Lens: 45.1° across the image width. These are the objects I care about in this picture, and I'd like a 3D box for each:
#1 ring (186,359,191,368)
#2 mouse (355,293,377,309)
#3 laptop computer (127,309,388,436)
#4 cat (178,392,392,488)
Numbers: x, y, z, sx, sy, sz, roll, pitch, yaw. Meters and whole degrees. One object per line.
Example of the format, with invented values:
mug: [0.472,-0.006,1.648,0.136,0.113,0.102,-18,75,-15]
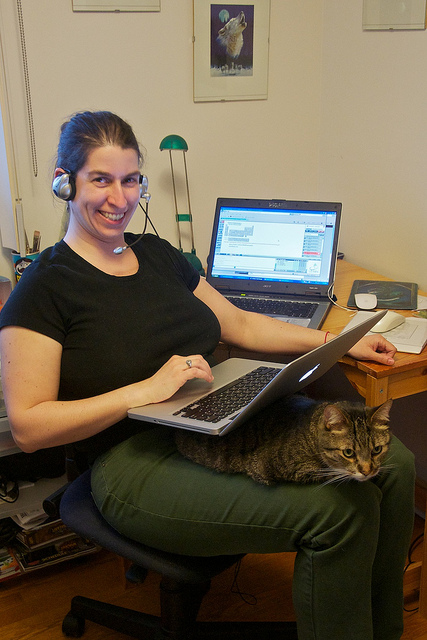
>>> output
ring: [-0.041,0.072,0.837,0.006,0.003,0.011,-13,60,-6]
mouse: [0.417,-0.054,1.401,0.058,0.035,0.101,1,10,16]
laptop computer: [0.075,0.070,0.862,0.298,0.137,0.338,10,20,39]
cat: [0.112,0.164,0.829,0.335,0.140,0.201,3,14,32]
